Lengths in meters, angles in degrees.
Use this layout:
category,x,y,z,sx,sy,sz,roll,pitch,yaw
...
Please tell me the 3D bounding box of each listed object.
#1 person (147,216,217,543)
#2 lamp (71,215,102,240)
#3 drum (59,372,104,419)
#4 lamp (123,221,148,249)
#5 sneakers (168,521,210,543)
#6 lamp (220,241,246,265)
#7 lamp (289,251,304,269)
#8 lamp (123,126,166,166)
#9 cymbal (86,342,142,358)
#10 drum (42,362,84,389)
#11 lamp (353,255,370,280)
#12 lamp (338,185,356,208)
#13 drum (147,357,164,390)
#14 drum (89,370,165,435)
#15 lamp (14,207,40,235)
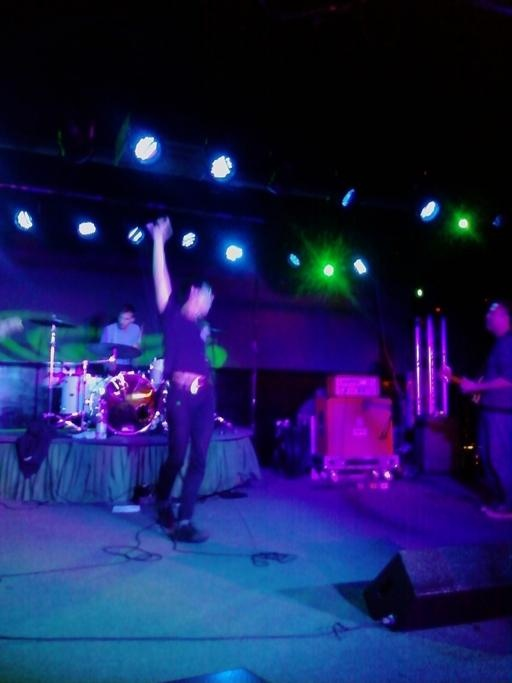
category,x,y,z,sx,sy,sz,roll,pitch,yaw
person,-0.414,0.231,3.479,0.357,1.804,0.501,1,0,-5
lamp,-1.969,-1.305,7.213,0.276,0.260,0.305,1,0,-11
drum,-1.557,0.484,5.588,0.338,0.483,0.441,3,-6,18
lamp,-1.449,-1.255,7.484,0.229,0.239,0.435,1,0,-13
sneakers,-0.367,1.088,3.549,0.258,0.144,0.104,10,2,-15
lamp,-0.282,-1.114,7.898,0.300,0.262,0.475,1,0,-2
lamp,0.451,-0.942,7.269,0.169,0.158,0.217,1,0,14
lamp,-0.947,-1.576,5.174,0.341,0.292,0.479,1,0,-14
cymbal,-1.241,0.090,5.528,0.420,0.141,0.623,1,0,-7
drum,-1.803,0.302,5.951,0.277,0.167,0.444,0,-4,6
lamp,1.159,-0.814,6.846,0.183,0.184,0.345,1,0,9
lamp,0.908,-1.390,6.112,0.079,0.174,0.347,1,0,-8
drum,-0.843,0.274,5.224,0.159,0.327,0.182,6,-15,-14
drum,-1.015,0.494,4.973,0.451,0.657,0.205,19,-23,-27
lamp,-2.571,-1.331,6.942,0.181,0.251,0.331,1,0,0
